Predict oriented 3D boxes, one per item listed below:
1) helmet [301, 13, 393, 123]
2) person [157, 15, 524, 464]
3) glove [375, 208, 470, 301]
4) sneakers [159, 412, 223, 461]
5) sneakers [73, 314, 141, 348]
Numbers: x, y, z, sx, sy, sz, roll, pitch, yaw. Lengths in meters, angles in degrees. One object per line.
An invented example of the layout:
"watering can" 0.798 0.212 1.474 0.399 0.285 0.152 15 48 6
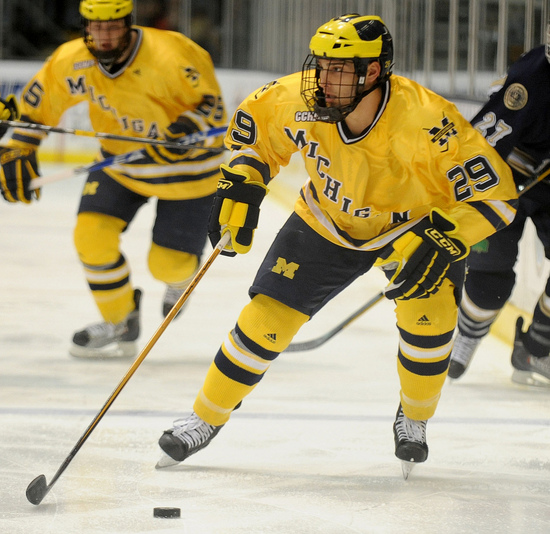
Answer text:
"helmet" 0.200 -0.535 2.093 0.179 0.296 0.229 13 14 28
"person" 0.201 -0.050 2.240 0.914 1.314 0.377 6 13 -1
"glove" 0.420 -0.031 2.189 0.249 0.271 0.264 7 11 6
"sneakers" -0.245 0.482 2.287 0.090 0.086 0.255 34 23 22
"sneakers" -0.802 0.286 3.412 0.392 0.142 0.099 -3 45 -17
